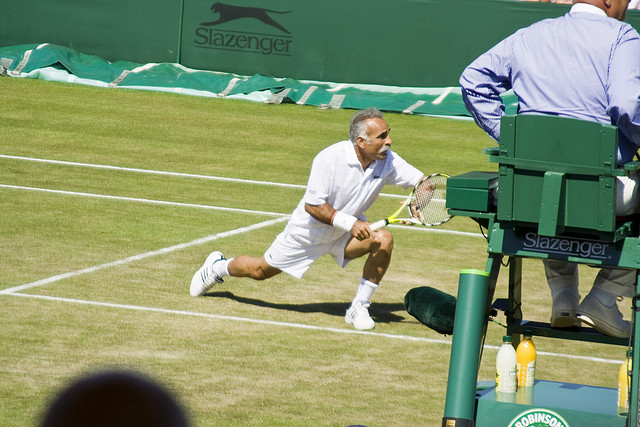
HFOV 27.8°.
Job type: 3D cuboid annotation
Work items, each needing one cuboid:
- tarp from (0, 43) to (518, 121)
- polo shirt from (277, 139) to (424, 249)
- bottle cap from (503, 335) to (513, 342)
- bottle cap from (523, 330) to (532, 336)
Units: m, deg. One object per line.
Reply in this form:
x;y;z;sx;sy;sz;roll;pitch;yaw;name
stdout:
-2.064;-2.818;27.308;9.552;1.094;2.048;7;3;9;tarp
0.379;-0.291;15.456;1.770;0.990;1.096;22;32;35;polo shirt
1.934;1.301;13.539;0.088;0.050;0.079;-1;4;-4;bottle cap
2.166;1.259;13.702;0.064;0.036;0.058;1;5;9;bottle cap
